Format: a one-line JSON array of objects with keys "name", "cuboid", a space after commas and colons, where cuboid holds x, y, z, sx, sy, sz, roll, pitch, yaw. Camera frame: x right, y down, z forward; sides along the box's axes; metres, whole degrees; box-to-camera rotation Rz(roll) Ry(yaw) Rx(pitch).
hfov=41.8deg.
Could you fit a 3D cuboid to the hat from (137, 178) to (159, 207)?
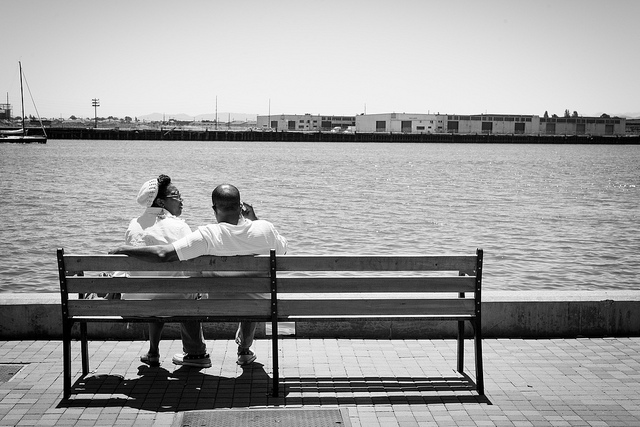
[{"name": "hat", "cuboid": [-2.008, -0.240, 9.908, 0.237, 0.334, 0.231, 3, -2, -12]}]
